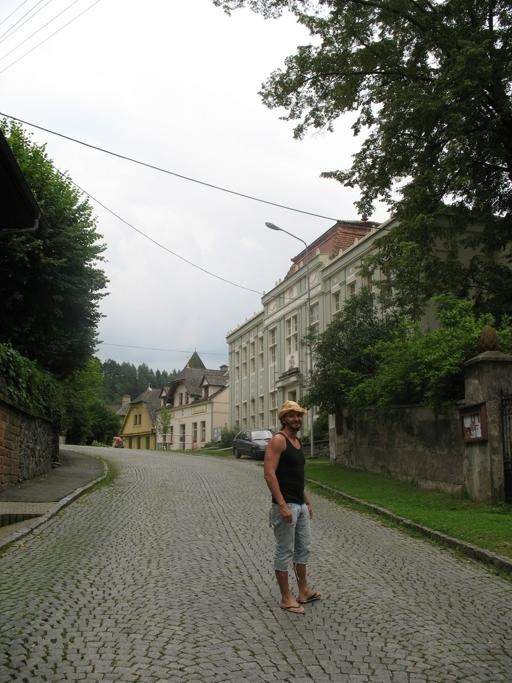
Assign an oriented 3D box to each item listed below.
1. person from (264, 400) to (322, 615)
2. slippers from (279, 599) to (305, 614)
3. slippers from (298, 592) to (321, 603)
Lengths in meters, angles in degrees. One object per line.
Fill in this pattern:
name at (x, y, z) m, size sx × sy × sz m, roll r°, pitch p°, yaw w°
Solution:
person at (0.322, 1.394, 5.512) m, size 0.450 × 1.755 × 0.654 m, roll 0°, pitch -10°, yaw 10°
slippers at (0.297, 2.190, 5.166) m, size 0.191 × 0.079 × 0.072 m, roll -8°, pitch -12°, yaw 35°
slippers at (0.471, 2.239, 5.520) m, size 0.166 × 0.057 × 0.078 m, roll -3°, pitch -6°, yaw -26°
